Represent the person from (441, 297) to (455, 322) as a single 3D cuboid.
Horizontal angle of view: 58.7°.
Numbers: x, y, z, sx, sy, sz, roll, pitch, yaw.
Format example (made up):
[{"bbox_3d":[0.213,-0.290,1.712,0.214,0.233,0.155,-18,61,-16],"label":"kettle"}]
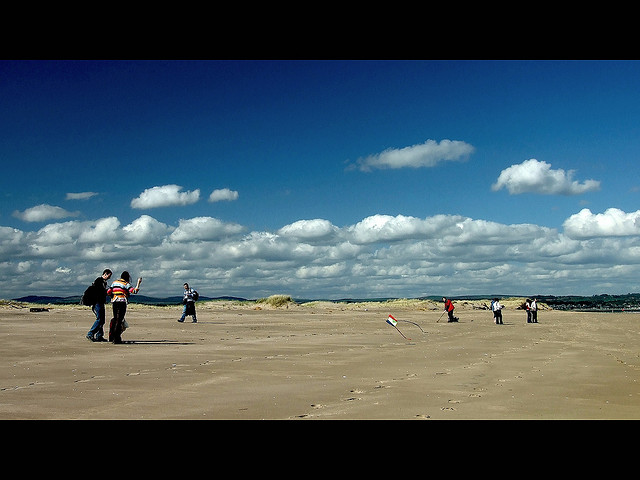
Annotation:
[{"bbox_3d":[6.795,3.681,29.837,0.530,1.320,1.663,1,0,12],"label":"person"}]
